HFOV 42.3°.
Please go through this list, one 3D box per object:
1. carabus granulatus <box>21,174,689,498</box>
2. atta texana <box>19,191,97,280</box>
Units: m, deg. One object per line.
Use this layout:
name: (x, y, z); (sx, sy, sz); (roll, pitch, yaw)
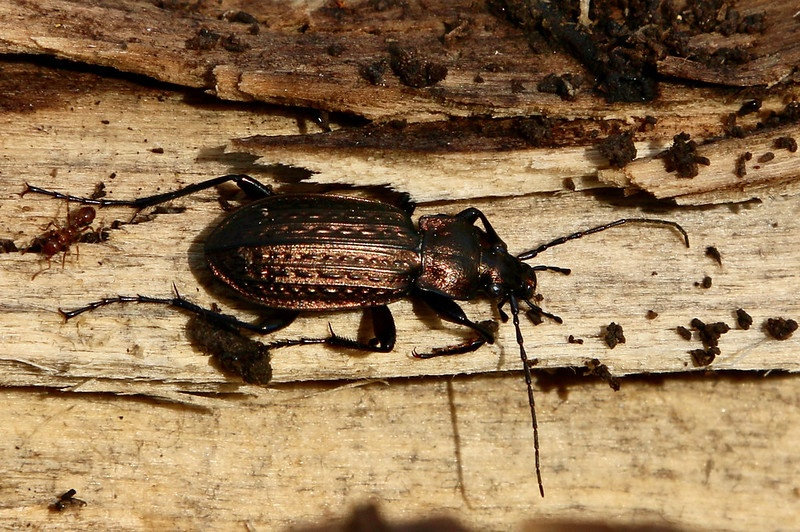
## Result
carabus granulatus: (-0.553, 0.224, 11.720); (5.224, 2.387, 1.100); (2, 26, -2)
atta texana: (-3.757, -0.309, 11.399); (0.503, 0.791, 0.742); (14, 25, 19)
